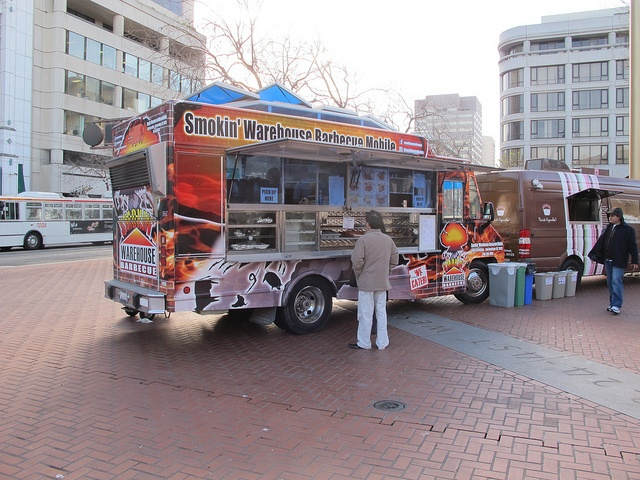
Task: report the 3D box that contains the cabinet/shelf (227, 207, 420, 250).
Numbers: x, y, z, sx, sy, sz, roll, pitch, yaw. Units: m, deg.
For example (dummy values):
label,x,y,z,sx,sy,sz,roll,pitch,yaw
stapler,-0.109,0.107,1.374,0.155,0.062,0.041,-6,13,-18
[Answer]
label,x,y,z,sx,sy,sz,roll,pitch,yaw
cabinet/shelf,0.179,-0.162,8.755,3.654,0.753,0.392,0,-18,-14

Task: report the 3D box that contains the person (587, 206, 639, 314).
label,x,y,z,sx,sy,sz,roll,pitch,yaw
person,6.383,0.451,10.096,0.692,2.230,0.921,-2,6,-17

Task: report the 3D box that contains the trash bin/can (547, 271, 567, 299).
label,x,y,z,sx,sy,sz,roll,pitch,yaw
trash bin/can,5.990,1.147,11.988,0.599,0.814,0.597,-1,-2,26

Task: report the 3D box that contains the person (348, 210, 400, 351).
label,x,y,z,sx,sy,sz,roll,pitch,yaw
person,0.889,0.651,7.717,0.579,2.222,0.770,5,8,41

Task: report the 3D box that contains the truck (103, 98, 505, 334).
label,x,y,z,sx,sy,sz,roll,pitch,yaw
truck,0.419,-0.342,9.456,8.522,3.986,3.154,-3,7,-31

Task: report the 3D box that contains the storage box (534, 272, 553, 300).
label,x,y,z,sx,sy,sz,roll,pitch,yaw
storage box,5.523,1.152,11.551,0.434,0.653,0.330,2,6,21
